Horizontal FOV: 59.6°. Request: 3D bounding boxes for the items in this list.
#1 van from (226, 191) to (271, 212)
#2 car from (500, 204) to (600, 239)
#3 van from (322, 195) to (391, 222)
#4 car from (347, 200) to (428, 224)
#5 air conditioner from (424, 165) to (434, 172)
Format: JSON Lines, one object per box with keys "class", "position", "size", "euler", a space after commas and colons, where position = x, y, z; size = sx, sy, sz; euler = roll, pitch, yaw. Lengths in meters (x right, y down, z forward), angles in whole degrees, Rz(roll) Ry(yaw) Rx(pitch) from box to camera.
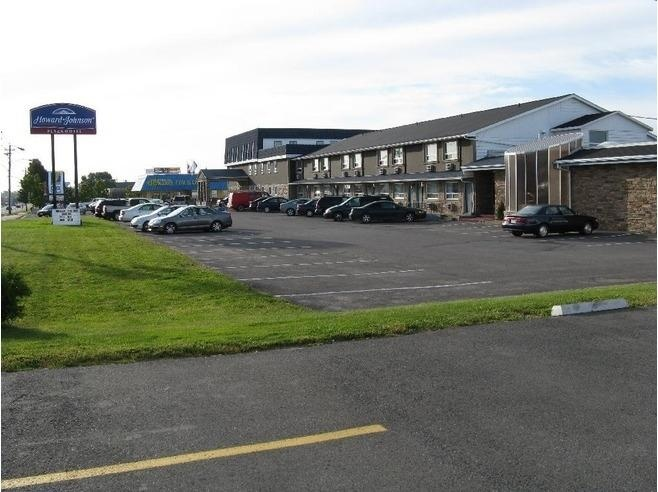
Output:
{"class": "van", "position": [-10.300, -5.634, 71.264], "size": [4.382, 1.744, 2.423], "euler": [-5, 10, -17]}
{"class": "car", "position": [12.125, -1.428, 31.742], "size": [4.807, 1.485, 2.052], "euler": [-5, 9, -20]}
{"class": "van", "position": [2.172, -3.315, 48.632], "size": [4.982, 1.871, 2.317], "euler": [0, 0, 1]}
{"class": "car", "position": [4.618, -2.882, 45.687], "size": [5.005, 1.574, 2.270], "euler": [-2, 5, -4]}
{"class": "air conditioner", "position": [9.136, -7.110, 51.837], "size": [0.545, 0.555, 0.796], "euler": [0, 3, -11]}
